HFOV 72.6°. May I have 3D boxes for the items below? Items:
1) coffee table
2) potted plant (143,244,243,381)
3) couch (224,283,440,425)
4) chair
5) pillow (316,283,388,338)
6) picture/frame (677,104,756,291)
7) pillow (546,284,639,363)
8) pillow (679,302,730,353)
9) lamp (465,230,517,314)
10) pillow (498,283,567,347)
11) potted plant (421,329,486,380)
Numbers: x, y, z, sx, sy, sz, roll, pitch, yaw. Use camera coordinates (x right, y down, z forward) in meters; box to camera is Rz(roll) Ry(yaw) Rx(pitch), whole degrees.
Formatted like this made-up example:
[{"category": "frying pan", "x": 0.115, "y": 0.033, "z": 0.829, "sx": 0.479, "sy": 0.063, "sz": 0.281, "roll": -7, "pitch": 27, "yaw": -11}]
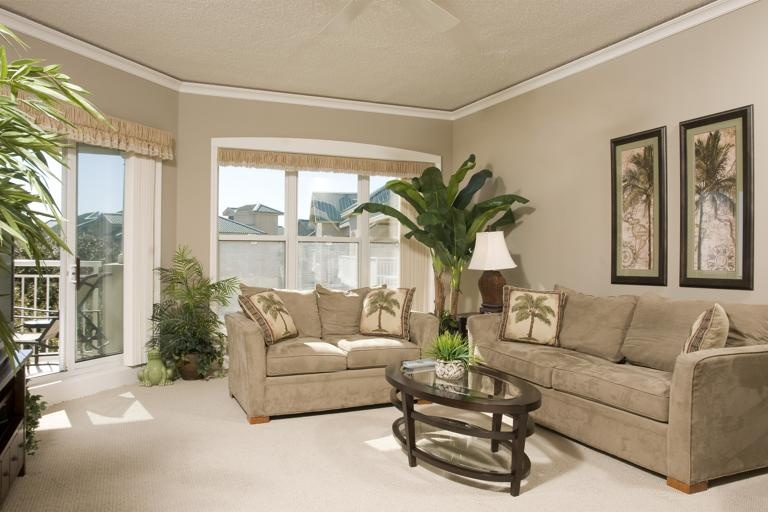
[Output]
[{"category": "coffee table", "x": 0.604, "y": 1.351, "z": 4.290, "sx": 0.997, "sy": 0.716, "sz": 1.495, "roll": 0, "pitch": 3, "yaw": -27}, {"category": "potted plant", "x": -2.247, "y": 0.656, "z": 6.126, "sx": 0.942, "sy": 1.458, "sz": 0.794, "roll": -3, "pitch": 12, "yaw": -18}, {"category": "couch", "x": -0.560, "y": 0.866, "z": 5.486, "sx": 2.034, "sy": 1.138, "sz": 1.211, "roll": -3, "pitch": 11, "yaw": -20}, {"category": "chair", "x": -3.349, "y": 0.587, "z": 5.618, "sx": 1.035, "sy": 1.102, "sz": 0.710, "roll": -5, "pitch": 12, "yaw": -25}, {"category": "pillow", "x": -0.461, "y": 0.564, "z": 5.842, "sx": 0.587, "sy": 0.515, "sz": 0.211, "roll": 1, "pitch": 6, "yaw": -26}, {"category": "picture/frame", "x": 2.950, "y": -0.510, "z": 4.642, "sx": 0.746, "sy": 1.574, "sz": 0.350, "roll": 9, "pitch": 15, "yaw": 38}, {"category": "pillow", "x": 2.106, "y": 0.674, "z": 5.198, "sx": 0.393, "sy": 0.694, "sz": 1.001, "roll": 1, "pitch": 5, "yaw": -11}, {"category": "pillow", "x": 2.457, "y": 0.568, "z": 3.979, "sx": 0.265, "sy": 0.348, "sz": 0.386, "roll": 8, "pitch": 13, "yaw": 36}, {"category": "lamp", "x": 1.255, "y": 0.194, "z": 6.058, "sx": 0.609, "sy": 0.876, "sz": 0.575, "roll": -2, "pitch": -4, "yaw": -31}, {"category": "pillow", "x": 1.450, "y": 0.583, "z": 5.207, "sx": 0.612, "sy": 0.544, "sz": 0.187, "roll": 5, "pitch": -6, "yaw": 37}, {"category": "potted plant", "x": 0.532, "y": 0.816, "z": 4.271, "sx": 0.369, "sy": 0.339, "sz": 0.337, "roll": 1, "pitch": 7, "yaw": 38}]
